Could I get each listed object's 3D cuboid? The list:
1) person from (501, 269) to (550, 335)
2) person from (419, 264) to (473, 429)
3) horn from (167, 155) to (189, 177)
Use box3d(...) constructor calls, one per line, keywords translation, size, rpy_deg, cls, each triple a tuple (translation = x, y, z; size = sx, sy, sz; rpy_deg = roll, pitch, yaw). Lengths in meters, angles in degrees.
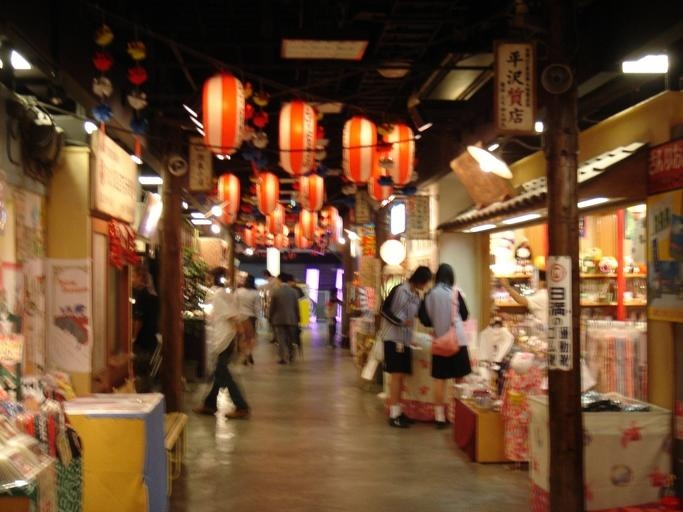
box3d(translation=(2.626, 0.610, 8.813), size=(0.575, 0.850, 1.342), rpy_deg=(0, -1, 17), cls="person")
box3d(translation=(1.460, 1.275, 8.838), size=(0.709, 2.207, 0.641), rpy_deg=(-1, 8, 8), cls="person")
box3d(translation=(-2.437, -1.330, 9.090), size=(0.276, 0.315, 0.187), rpy_deg=(0, -1, -5), cls="horn")
